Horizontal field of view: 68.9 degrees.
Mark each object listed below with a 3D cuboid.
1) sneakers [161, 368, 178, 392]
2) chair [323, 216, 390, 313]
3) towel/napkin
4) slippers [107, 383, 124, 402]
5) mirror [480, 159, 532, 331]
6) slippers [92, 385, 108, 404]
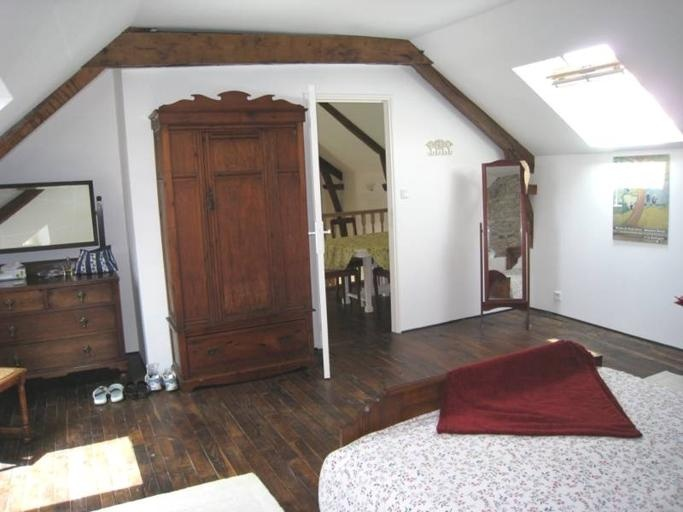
[{"bbox_3d":[-1.551,1.117,4.471,0.108,0.135,0.189,-4,16,-21],"label":"sneakers"},{"bbox_3d":[0.206,0.169,6.988,1.311,0.911,0.787,-7,11,-36],"label":"chair"},{"bbox_3d":[1.109,0.775,2.862,0.642,0.161,0.583,-2,13,1],"label":"towel/napkin"},{"bbox_3d":[-1.972,1.201,4.341,0.125,0.107,0.156,-9,14,-27],"label":"slippers"},{"bbox_3d":[1.831,-0.134,5.537,0.518,1.822,0.409,1,13,15],"label":"mirror"},{"bbox_3d":[-2.101,1.207,4.321,0.094,0.061,0.170,-2,29,-26],"label":"slippers"}]
